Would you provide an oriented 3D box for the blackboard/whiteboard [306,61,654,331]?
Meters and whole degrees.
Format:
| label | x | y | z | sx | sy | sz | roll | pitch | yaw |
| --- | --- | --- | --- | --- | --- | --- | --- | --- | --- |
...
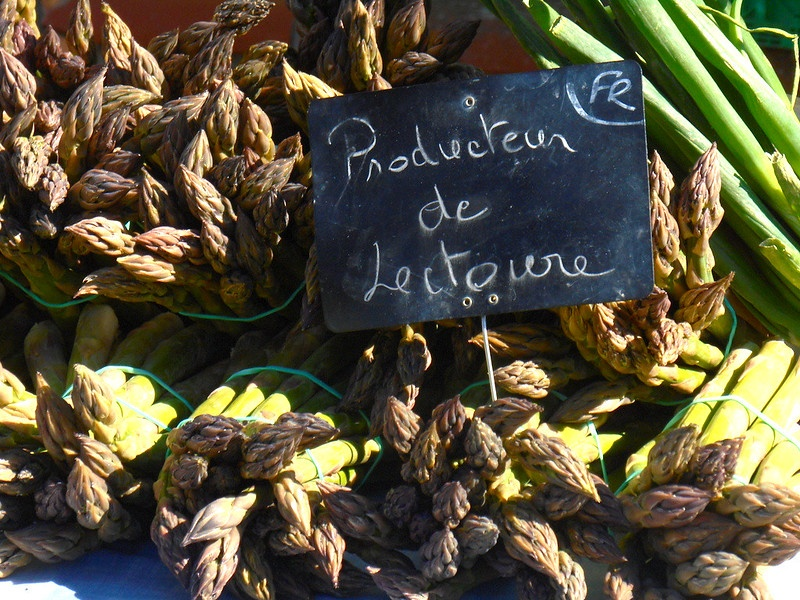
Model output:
| label | x | y | z | sx | sy | sz | roll | pitch | yaw |
| --- | --- | --- | --- | --- | --- | --- | --- | --- | --- |
| blackboard/whiteboard | 0.275 | -0.323 | 2.606 | 0.734 | 0.593 | 0.055 | -8 | 0 | 1 |
